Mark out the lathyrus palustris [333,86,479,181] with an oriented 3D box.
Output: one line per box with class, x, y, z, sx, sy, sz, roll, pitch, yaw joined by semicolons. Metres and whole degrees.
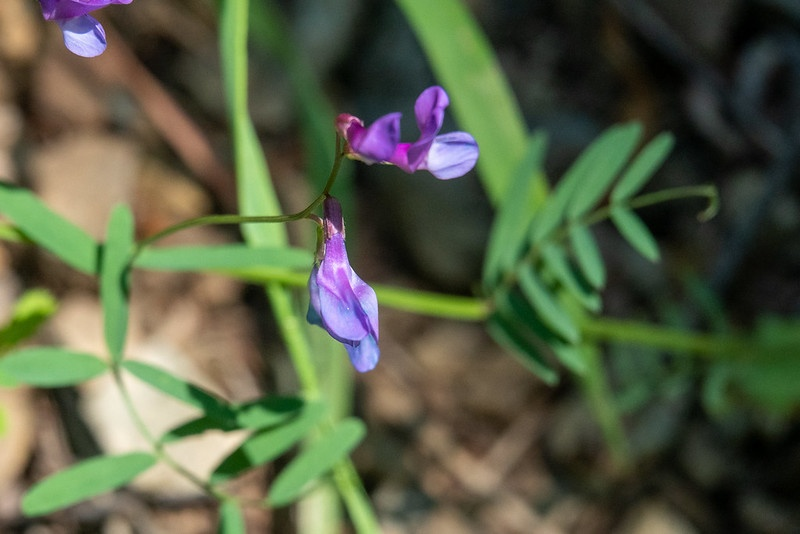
lathyrus palustris;0.016;-0.227;1.545;0.185;0.104;0.179;17;33;14
